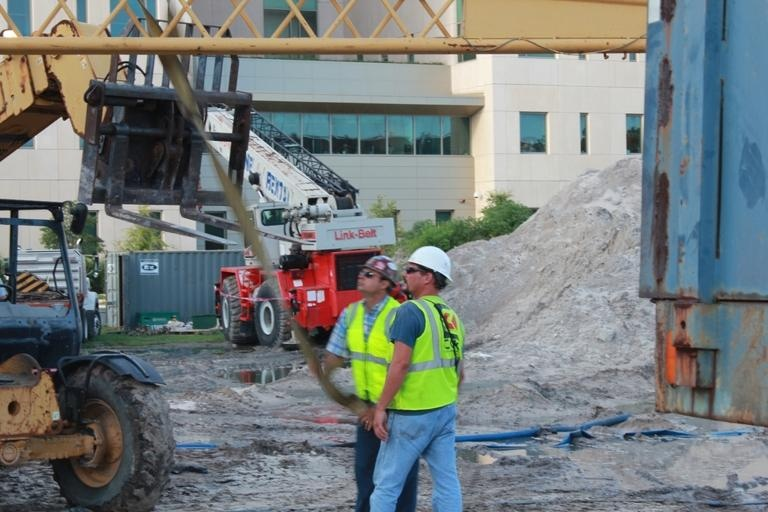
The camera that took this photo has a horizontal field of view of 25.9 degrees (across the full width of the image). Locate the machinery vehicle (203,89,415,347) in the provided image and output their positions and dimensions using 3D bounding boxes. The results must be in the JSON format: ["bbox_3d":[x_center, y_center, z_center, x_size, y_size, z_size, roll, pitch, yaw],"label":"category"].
[{"bbox_3d":[-1.969,-0.555,36.381,3.091,4.589,7.329,-6,7,-22],"label":"machinery vehicle"}]

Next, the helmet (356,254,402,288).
[{"bbox_3d":[0.020,0.238,23.560,0.497,0.260,0.351,26,-3,-27],"label":"helmet"}]

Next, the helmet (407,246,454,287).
[{"bbox_3d":[0.698,0.099,23.665,0.599,0.331,0.447,35,5,7],"label":"helmet"}]
